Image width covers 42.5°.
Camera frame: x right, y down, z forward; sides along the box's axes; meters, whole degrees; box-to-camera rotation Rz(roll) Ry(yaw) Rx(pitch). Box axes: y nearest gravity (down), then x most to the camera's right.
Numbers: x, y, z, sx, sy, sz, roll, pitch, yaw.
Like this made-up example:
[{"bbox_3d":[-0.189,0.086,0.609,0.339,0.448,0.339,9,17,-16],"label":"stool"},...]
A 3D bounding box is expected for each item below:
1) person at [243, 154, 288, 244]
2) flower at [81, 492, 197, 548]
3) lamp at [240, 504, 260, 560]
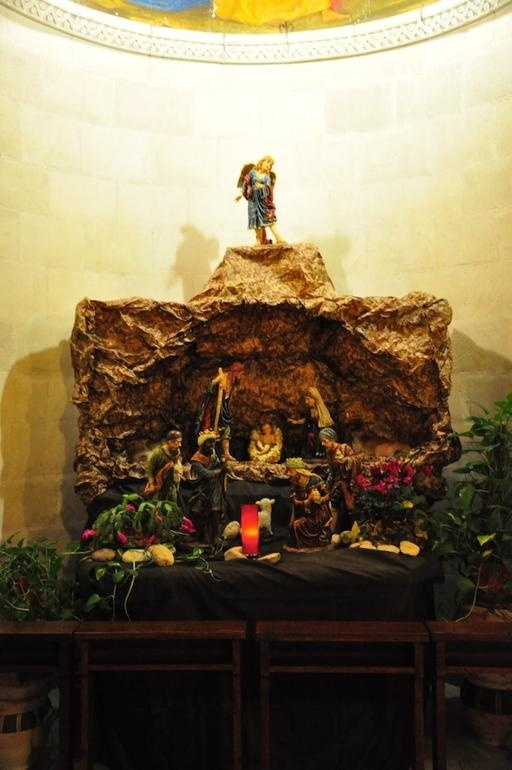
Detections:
[{"bbox_3d":[0.030,-1.668,6.113,0.412,0.845,0.326,-3,-7,10],"label":"person"},{"bbox_3d":[-0.856,1.000,4.757,0.661,0.224,0.449,-2,-4,-13],"label":"flower"},{"bbox_3d":[-0.049,1.040,4.699,0.115,0.359,0.183,-1,-6,-7],"label":"lamp"}]
